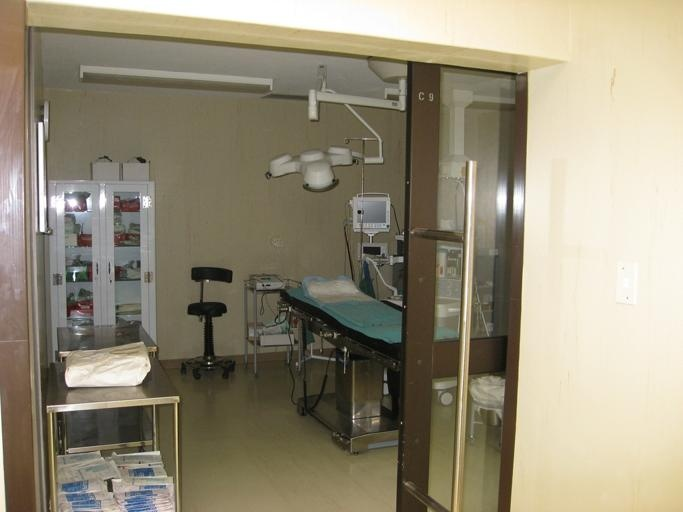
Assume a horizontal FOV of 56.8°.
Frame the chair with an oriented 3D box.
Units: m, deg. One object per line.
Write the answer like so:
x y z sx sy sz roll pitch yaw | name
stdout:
-1.290 0.603 6.090 0.511 1.023 0.667 0 8 -10 | chair

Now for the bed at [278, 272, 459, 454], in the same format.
0.095 0.794 4.572 0.708 1.019 1.762 -1 8 -14 | bed

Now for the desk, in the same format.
-1.154 0.785 3.169 0.559 0.666 0.920 -2 8 -23 | desk

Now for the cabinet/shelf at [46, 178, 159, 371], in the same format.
-2.278 0.033 6.044 0.889 1.851 0.488 -5 33 -26 | cabinet/shelf
